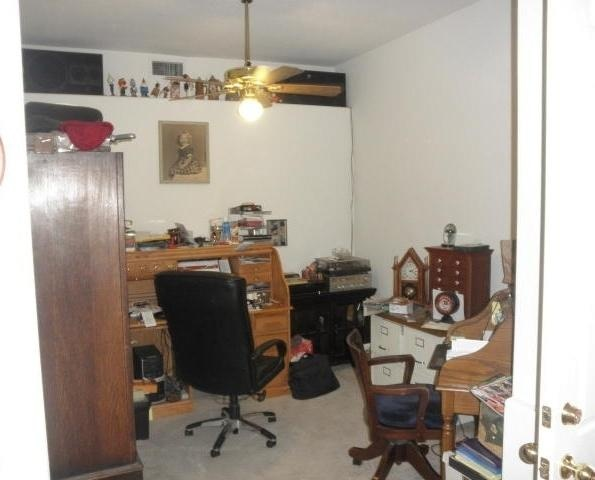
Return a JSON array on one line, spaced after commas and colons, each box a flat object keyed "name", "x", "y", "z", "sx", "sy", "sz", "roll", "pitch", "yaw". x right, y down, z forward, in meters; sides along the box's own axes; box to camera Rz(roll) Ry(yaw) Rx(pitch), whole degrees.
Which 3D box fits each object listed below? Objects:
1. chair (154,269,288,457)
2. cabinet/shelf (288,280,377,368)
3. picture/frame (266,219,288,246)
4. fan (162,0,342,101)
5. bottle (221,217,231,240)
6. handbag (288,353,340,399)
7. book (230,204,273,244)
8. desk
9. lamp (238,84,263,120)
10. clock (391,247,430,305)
[{"name": "chair", "x": -0.517, "y": 0.629, "z": 3.586, "sx": 0.868, "sy": 0.884, "sz": 0.501, "roll": -3, "pitch": 6, "yaw": -16}, {"name": "cabinet/shelf", "x": 0.298, "y": 0.818, "z": 5.118, "sx": 0.813, "sy": 0.751, "sz": 0.333, "roll": -2, "pitch": 3, "yaw": -28}, {"name": "picture/frame", "x": -0.237, "y": -0.085, "z": 5.674, "sx": 0.265, "sy": 0.399, "sz": 0.038, "roll": -2, "pitch": 5, "yaw": -25}, {"name": "fan", "x": -0.277, "y": -1.130, "z": 3.951, "sx": 1.046, "sy": 1.015, "sz": 1.034, "roll": 1, "pitch": 7, "yaw": 23}, {"name": "bottle", "x": -0.725, "y": -0.096, "z": 5.325, "sx": 0.111, "sy": 0.180, "sz": 0.402, "roll": -2, "pitch": 6, "yaw": -8}, {"name": "handbag", "x": 0.159, "y": 1.260, "z": 4.823, "sx": 0.482, "sy": 0.276, "sz": 0.393, "roll": -2, "pitch": 6, "yaw": -7}, {"name": "book", "x": -0.494, "y": -0.180, "z": 5.368, "sx": 0.420, "sy": 0.448, "sz": 0.402, "roll": -3, "pitch": 3, "yaw": -37}, {"name": "desk", "x": -0.719, "y": 0.752, "z": 4.030, "sx": 1.285, "sy": 1.297, "sz": 0.507, "roll": -2, "pitch": 3, "yaw": -26}, {"name": "lamp", "x": -0.334, "y": -0.973, "z": 3.707, "sx": 0.181, "sy": 0.263, "sz": 0.189, "roll": 0, "pitch": 4, "yaw": -4}, {"name": "clock", "x": 1.032, "y": 0.329, "z": 4.734, "sx": 0.311, "sy": 0.507, "sz": 0.167, "roll": 0, "pitch": 6, "yaw": 12}]
